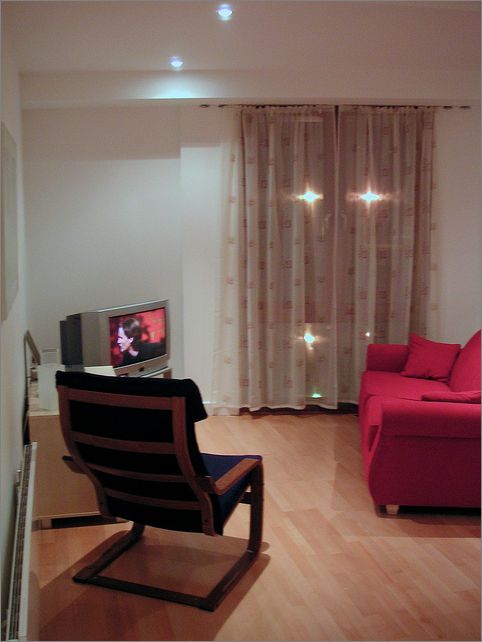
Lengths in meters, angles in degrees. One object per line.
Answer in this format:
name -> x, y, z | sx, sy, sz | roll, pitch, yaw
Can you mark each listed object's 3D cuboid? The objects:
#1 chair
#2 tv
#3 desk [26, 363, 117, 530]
chair -> -0.342, 0.542, 2.272 | 0.754, 1.015, 0.910 | 2, 8, 17
tv -> -0.841, -0.045, 3.461 | 0.457, 0.554, 0.832 | 2, 7, 19
desk -> -0.884, 0.696, 2.797 | 0.342, 0.559, 0.623 | -5, 20, -6
